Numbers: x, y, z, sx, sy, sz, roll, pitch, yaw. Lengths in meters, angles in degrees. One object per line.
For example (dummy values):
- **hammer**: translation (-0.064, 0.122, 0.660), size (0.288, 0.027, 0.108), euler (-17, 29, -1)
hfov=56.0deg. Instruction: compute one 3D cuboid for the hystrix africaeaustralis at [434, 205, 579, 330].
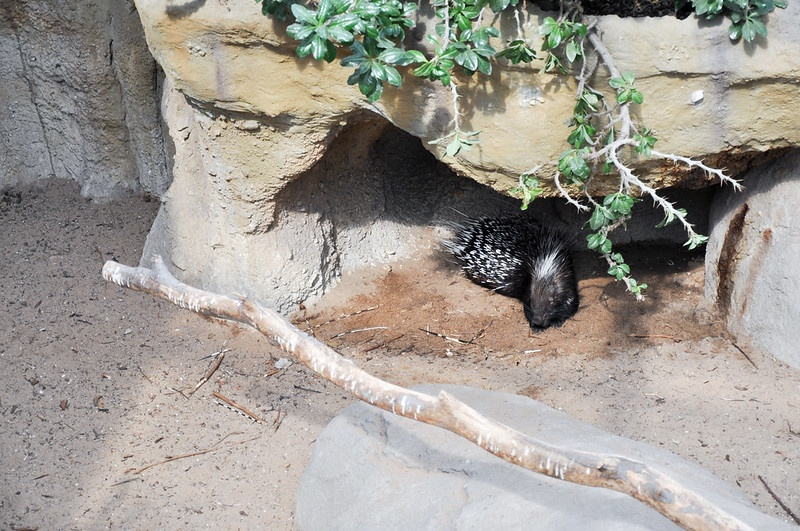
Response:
- **hystrix africaeaustralis**: translation (1.193, 0.019, 6.832), size (0.871, 0.571, 1.415), euler (-25, 38, -2)
